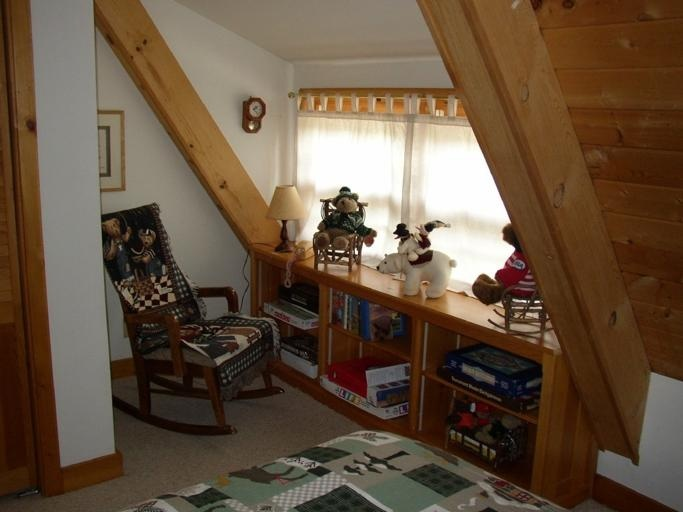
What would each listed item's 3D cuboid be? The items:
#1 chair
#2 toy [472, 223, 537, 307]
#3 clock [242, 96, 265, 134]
[{"bbox_3d":[-0.955,0.382,3.534,0.992,1.333,0.792,5,10,29],"label":"chair"},{"bbox_3d":[0.833,0.058,2.755,0.126,0.431,0.331,-5,16,-28],"label":"toy"},{"bbox_3d":[-0.654,-1.062,4.088,0.191,0.266,0.071,-7,17,-35],"label":"clock"}]
